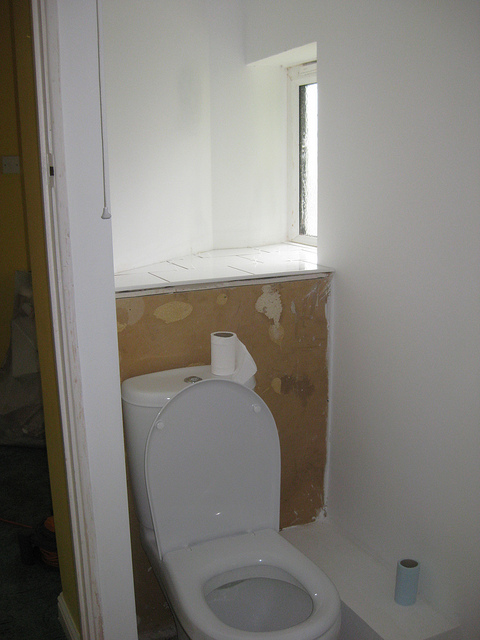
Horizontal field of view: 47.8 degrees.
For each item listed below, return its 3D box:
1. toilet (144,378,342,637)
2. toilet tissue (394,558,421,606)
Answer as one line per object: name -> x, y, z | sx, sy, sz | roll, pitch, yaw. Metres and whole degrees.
toilet -> 0.001, 0.408, 1.148 | 0.351, 0.453, 0.411 | -6, 14, -21
toilet tissue -> 0.433, 0.691, 1.435 | 0.060, 0.126, 0.063 | -8, -22, 34
